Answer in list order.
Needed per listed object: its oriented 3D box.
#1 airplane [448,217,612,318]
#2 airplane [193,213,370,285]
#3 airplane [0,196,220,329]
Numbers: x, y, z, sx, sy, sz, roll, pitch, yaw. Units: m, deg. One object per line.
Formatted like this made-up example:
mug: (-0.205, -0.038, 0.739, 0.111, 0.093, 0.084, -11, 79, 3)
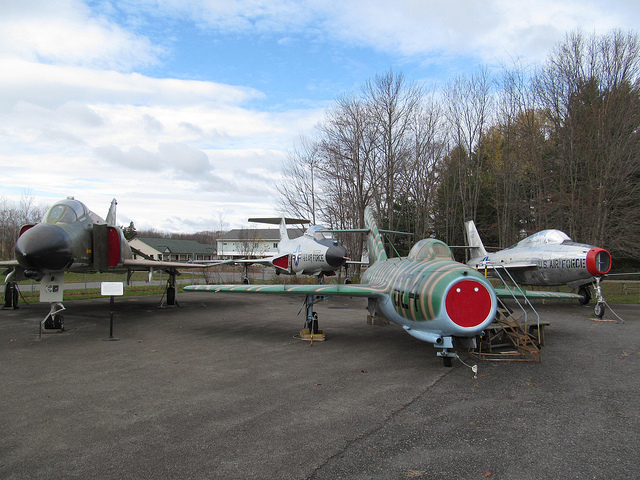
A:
airplane: (10.358, 1.155, 21.350, 5.546, 4.807, 8.299, 2, 10, -16)
airplane: (-1.244, 0.891, 26.127, 7.064, 2.147, 6.448, 0, -4, -21)
airplane: (-10.587, 1.691, 21.693, 8.487, 3.879, 8.529, 0, -2, -1)
